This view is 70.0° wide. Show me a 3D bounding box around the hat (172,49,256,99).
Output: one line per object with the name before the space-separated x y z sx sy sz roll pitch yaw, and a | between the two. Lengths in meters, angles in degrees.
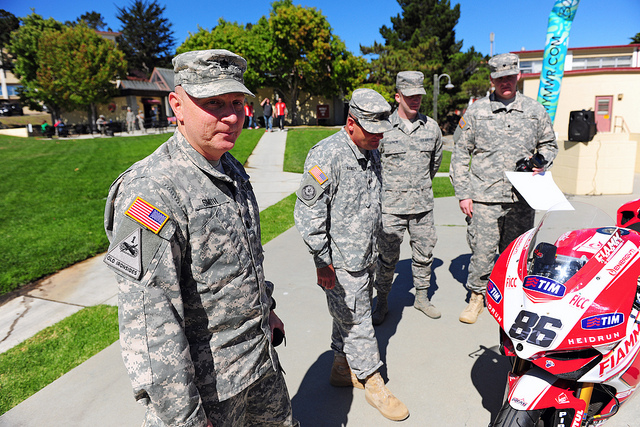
hat | -0.750 -0.979 3.185 0.639 0.304 0.548 11 18 20

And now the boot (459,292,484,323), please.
boot | 1.757 1.110 5.395 0.163 0.320 0.457 21 11 33

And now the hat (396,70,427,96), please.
hat | 1.037 -1.494 5.277 0.315 0.259 0.299 1 18 9

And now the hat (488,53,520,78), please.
hat | 2.095 -1.682 5.215 0.321 0.260 0.290 6 19 22

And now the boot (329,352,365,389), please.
boot | 0.191 1.531 4.598 0.443 0.429 0.203 -5 32 -4

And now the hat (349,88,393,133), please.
hat | 0.458 -0.930 4.215 0.379 0.399 0.377 -1 17 3

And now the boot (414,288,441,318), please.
boot | 1.313 1.062 5.521 0.152 0.273 0.396 1 4 -37

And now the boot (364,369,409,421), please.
boot | 0.613 1.723 4.293 0.210 0.355 0.526 -35 32 -27
